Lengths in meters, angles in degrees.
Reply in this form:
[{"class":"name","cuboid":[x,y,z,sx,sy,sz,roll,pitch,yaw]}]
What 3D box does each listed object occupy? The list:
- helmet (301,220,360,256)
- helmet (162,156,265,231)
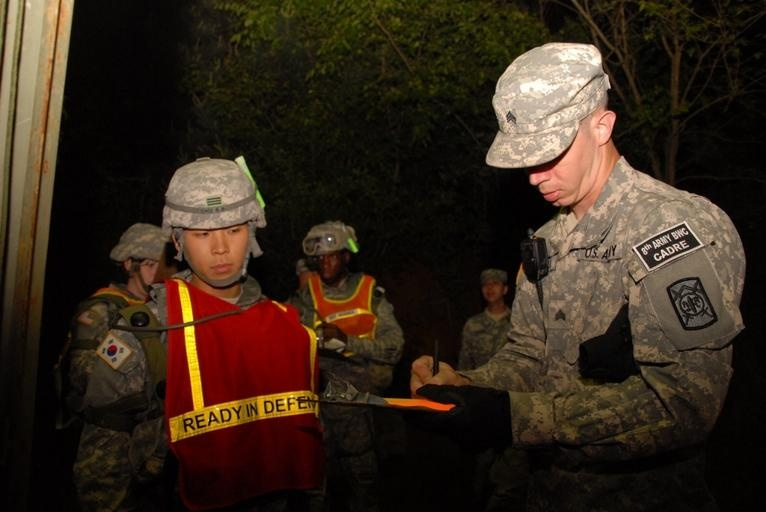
[{"class":"helmet","cuboid":[-0.500,-0.151,6.762,0.387,0.243,0.357,-5,-3,15]},{"class":"helmet","cuboid":[-1.119,-0.378,4.787,0.522,0.340,0.535,-2,15,-14]}]
